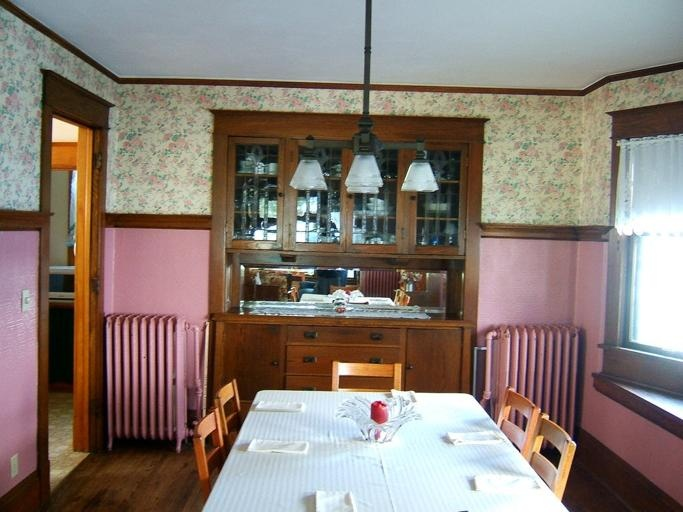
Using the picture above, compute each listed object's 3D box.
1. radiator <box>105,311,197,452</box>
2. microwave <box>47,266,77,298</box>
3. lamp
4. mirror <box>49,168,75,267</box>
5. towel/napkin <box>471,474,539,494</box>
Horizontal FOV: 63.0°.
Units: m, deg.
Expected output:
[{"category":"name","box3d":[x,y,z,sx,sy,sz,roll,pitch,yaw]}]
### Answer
[{"category":"radiator","box3d":[-1.714,1.096,4.854,0.756,1.118,0.466,2,13,1]},{"category":"microwave","box3d":[-2.934,0.280,5.837,0.401,0.322,0.206,0,-2,-1]},{"category":"lamp","box3d":[0.078,-1.039,3.693,0.892,1.230,1.179,-1,13,-12]},{"category":"mirror","box3d":[-3.532,-0.493,7.027,0.345,1.167,0.534,-3,14,-18]},{"category":"towel/napkin","box3d":[0.863,1.198,2.943,0.367,0.033,0.134,0,11,-7]}]
